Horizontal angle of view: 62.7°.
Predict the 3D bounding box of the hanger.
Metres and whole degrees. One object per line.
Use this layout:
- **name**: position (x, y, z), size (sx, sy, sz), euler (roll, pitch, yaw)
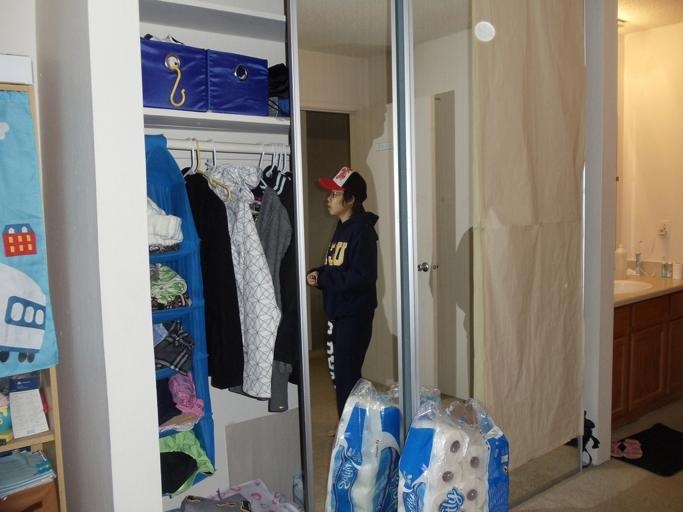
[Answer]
- **hanger**: position (-0.525, -0.383, 2.662), size (0.563, 0.374, 0.361), euler (-3, 3, -13)
